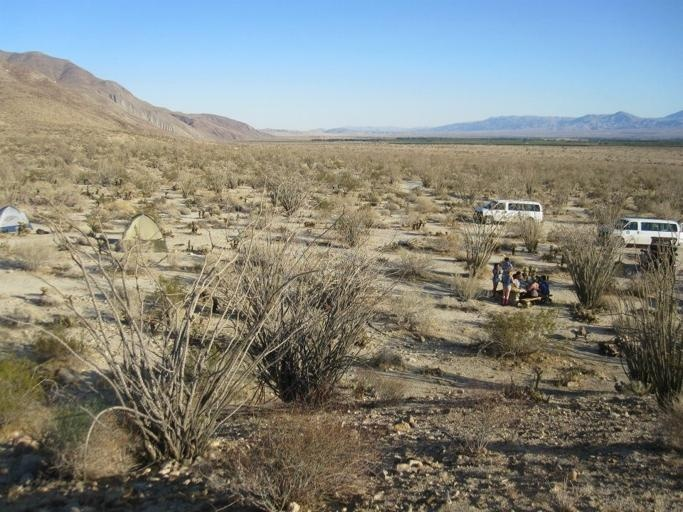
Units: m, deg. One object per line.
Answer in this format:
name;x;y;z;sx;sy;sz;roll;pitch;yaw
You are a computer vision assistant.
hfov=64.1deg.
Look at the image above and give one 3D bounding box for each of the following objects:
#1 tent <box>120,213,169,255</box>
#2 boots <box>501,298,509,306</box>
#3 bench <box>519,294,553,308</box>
tent;-6.889;-0.753;19.010;1.261;0.898;1.560;-4;16;-21
boots;4.954;1.375;16.547;0.219;0.260;0.145;2;7;31
bench;5.908;1.386;16.693;0.801;0.221;0.510;1;3;-13
